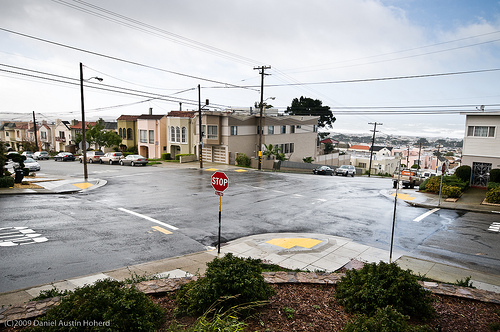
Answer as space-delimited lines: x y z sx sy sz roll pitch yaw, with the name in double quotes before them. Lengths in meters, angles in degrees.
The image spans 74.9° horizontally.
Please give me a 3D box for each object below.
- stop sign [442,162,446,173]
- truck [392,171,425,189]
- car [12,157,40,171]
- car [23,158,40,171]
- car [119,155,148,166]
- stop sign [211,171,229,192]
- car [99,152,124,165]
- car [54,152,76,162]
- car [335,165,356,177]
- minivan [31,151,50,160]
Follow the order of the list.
"stop sign" 12.170 0.138 20.565 0.217 0.600 0.515 8 12 29
"truck" 12.818 1.185 26.457 1.523 1.056 3.613 3 5 43
"car" -20.147 -0.077 30.117 3.006 0.885 1.336 6 5 35
"car" -20.151 0.041 30.260 1.299 0.826 2.731 -6 13 -44
"car" -14.324 -0.672 40.197 3.108 0.904 1.435 6 7 36
"stop sign" -1.197 0.649 13.325 0.804 0.820 0.294 10 13 38
"car" -18.177 -0.973 43.043 3.199 1.044 1.712 6 7 38
"car" -27.049 -1.264 47.498 2.715 0.788 1.289 4 5 38
"car" 12.486 0.641 42.160 1.314 0.941 2.706 -1 -4 40
"minivan" -32.255 -1.506 50.226 3.162 1.209 1.738 7 8 38
